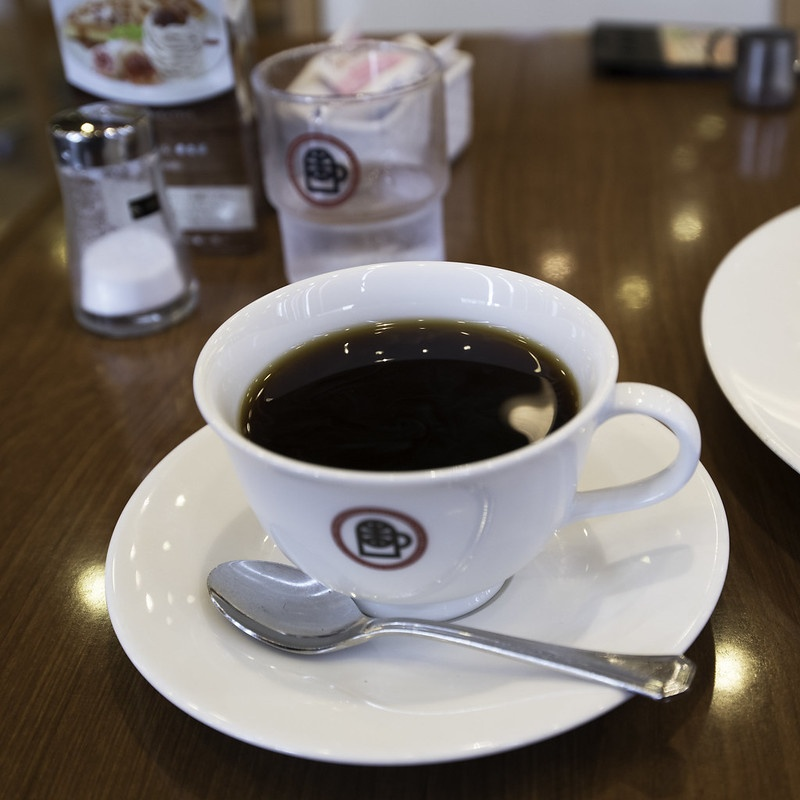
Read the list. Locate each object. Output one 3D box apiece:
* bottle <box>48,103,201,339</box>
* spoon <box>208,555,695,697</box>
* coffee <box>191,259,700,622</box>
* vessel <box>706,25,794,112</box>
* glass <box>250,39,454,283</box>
[{"bbox_3d":[-0.240,-0.158,0.672,0.118,0.171,0.122,0,33,0],"label":"bottle"},{"bbox_3d":[0.024,0.103,0.352,0.158,0.021,0.035,9,36,12],"label":"spoon"},{"bbox_3d":[0.026,0.042,0.395,0.216,0.120,0.180,-2,21,12],"label":"coffee"},{"bbox_3d":[0.429,-0.388,0.911,0.071,0.076,0.060,11,42,20],"label":"vessel"},{"bbox_3d":[-0.024,-0.200,0.658,0.143,0.168,0.180,26,48,30],"label":"glass"}]
